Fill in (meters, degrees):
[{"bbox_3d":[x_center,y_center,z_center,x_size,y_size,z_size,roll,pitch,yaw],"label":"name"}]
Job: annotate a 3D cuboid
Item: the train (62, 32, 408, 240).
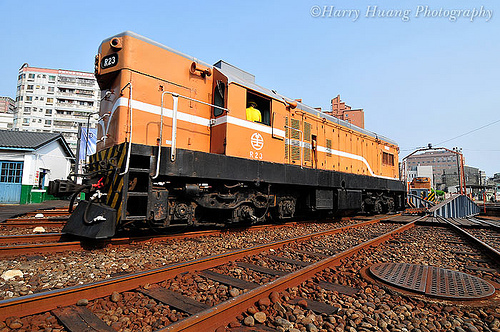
[{"bbox_3d":[2.537,-0.198,12.610,17.194,5.943,4.833,7,-11,-41],"label":"train"}]
